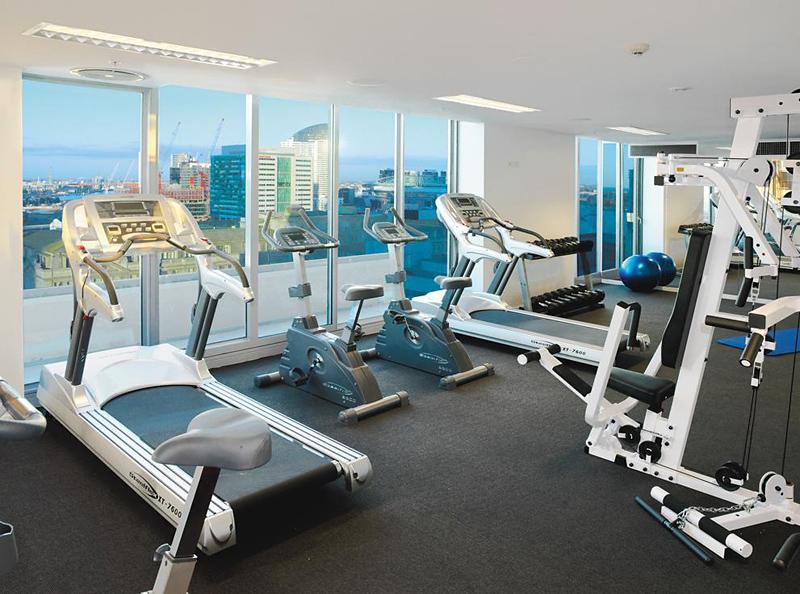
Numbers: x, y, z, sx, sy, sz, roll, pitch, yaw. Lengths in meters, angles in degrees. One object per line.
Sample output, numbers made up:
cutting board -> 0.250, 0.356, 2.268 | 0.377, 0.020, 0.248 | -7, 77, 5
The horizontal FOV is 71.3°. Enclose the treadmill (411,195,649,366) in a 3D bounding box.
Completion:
treadmill -> 1.686, -0.344, 6.906 | 2.597, 1.792, 1.886 | 12, 18, 39
